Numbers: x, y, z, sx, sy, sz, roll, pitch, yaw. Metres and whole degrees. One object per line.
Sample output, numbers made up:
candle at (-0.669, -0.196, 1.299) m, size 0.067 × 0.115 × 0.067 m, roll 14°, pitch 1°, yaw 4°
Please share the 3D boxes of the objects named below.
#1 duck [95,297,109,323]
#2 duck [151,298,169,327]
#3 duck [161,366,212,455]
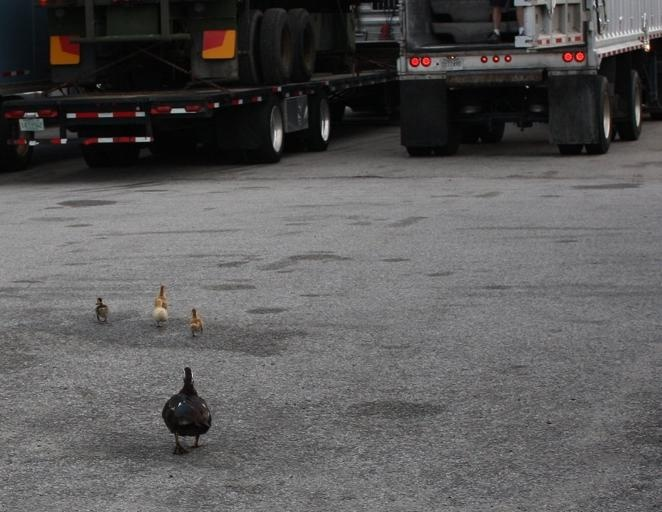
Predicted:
duck at (-1.709, 0.408, 7.093) m, size 0.110 × 0.160 × 0.223 m, roll -6°, pitch -5°, yaw -8°
duck at (-1.278, 0.418, 7.021) m, size 0.113 × 0.214 × 0.207 m, roll 2°, pitch 7°, yaw -4°
duck at (-0.743, 0.809, 4.820) m, size 0.228 × 0.412 × 0.486 m, roll 0°, pitch 7°, yaw -12°
